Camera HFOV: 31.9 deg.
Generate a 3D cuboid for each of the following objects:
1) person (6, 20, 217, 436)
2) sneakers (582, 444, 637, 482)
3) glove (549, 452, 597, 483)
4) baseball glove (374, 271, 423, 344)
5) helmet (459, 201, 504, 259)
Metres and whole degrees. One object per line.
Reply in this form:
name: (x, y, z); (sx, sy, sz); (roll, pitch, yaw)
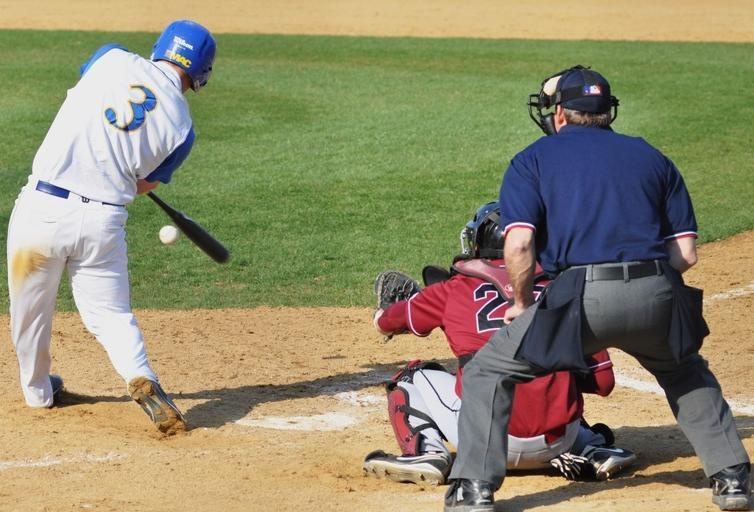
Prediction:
person: (-2.348, -0.236, 11.565); (1.747, 3.584, 0.941); (-4, 14, -15)
sneakers: (1.930, 1.741, 11.071); (0.550, 0.201, 0.190); (-13, -2, -34)
glove: (1.659, 1.780, 11.085); (0.313, 0.246, 0.145); (-3, -1, -29)
baseball glove: (0.153, 0.483, 12.148); (0.420, 0.619, 0.660); (2, -3, -1)
helmet: (1.056, -0.201, 11.574); (0.648, 0.461, 0.467); (2, 6, 16)
